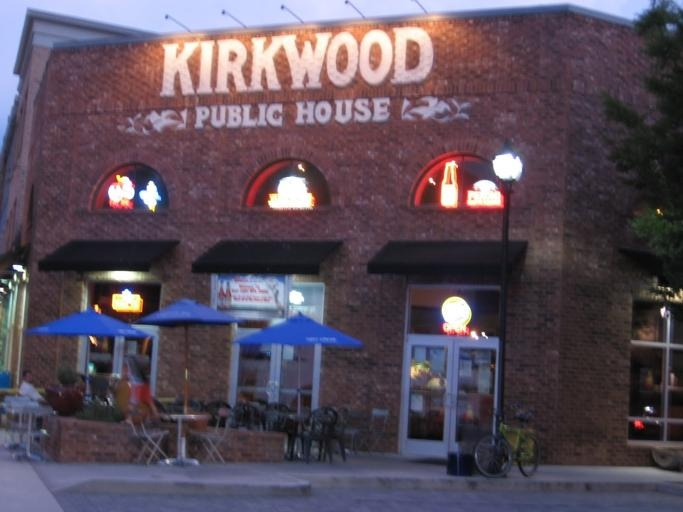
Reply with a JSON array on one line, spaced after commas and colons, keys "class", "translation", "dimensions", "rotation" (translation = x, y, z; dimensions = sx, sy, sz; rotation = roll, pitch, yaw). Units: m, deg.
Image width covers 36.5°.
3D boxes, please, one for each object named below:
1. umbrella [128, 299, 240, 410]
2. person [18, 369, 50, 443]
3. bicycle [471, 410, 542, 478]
[{"class": "umbrella", "translation": [-3.628, 2.212, 24.169], "dimensions": [1.912, 2.699, 2.143], "rotation": [1, 8, 0]}, {"class": "person", "translation": [-7.411, 3.643, 25.049], "dimensions": [0.473, 1.311, 1.220], "rotation": [1, -3, -15]}, {"class": "bicycle", "translation": [3.756, 4.220, 23.066], "dimensions": [1.974, 1.371, 0.890], "rotation": [7, -9, -33]}]
